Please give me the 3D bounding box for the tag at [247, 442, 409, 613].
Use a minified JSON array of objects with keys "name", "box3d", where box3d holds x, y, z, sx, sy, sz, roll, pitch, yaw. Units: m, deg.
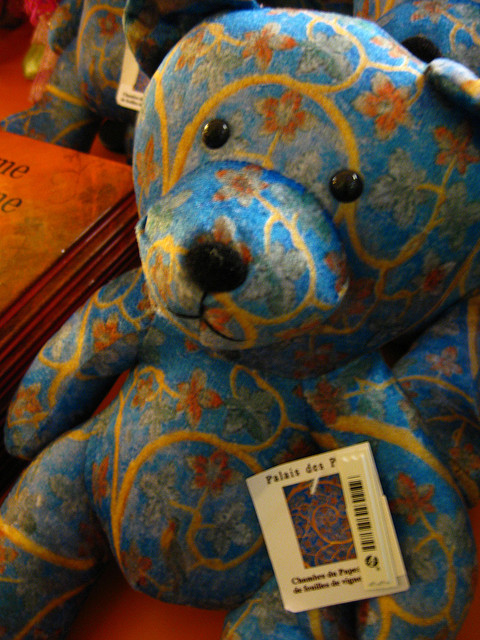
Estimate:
[{"name":"tag","box3d":[0.089,0.204,0.539,0.165,0.170,0.050,-19,-11,22]}]
